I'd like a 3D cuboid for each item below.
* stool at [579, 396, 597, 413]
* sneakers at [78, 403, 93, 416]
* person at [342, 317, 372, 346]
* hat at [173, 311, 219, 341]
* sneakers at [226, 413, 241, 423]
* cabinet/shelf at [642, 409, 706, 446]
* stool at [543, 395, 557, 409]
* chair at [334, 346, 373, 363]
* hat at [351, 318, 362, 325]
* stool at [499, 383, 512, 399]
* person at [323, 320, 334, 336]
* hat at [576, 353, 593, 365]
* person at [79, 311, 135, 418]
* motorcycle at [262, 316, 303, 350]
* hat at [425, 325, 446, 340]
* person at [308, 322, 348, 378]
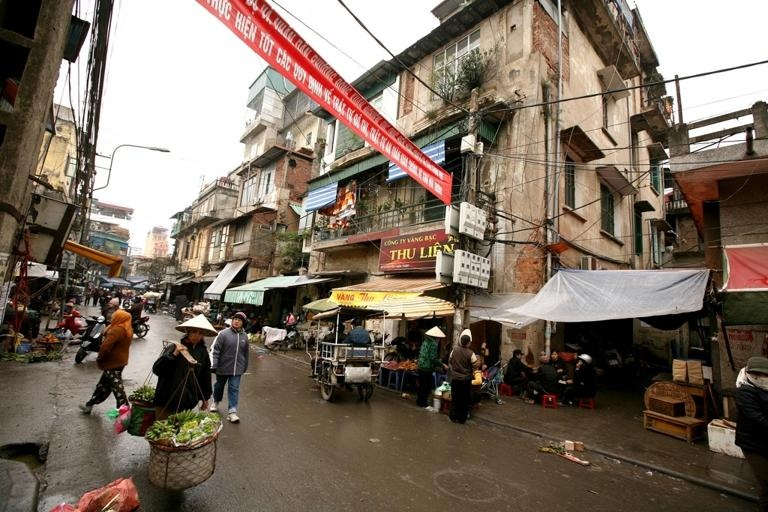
[{"bbox_3d":[5.872,4.301,14.378,0.391,0.337,0.380,2,-2,11],"label":"stool"},{"bbox_3d":[-6.483,3.342,10.807,0.312,0.206,0.159,28,-11,12],"label":"sneakers"},{"bbox_3d":[-0.733,2.325,14.107,0.818,1.013,0.580,6,-53,-7],"label":"person"},{"bbox_3d":[-3.683,1.403,9.810,0.555,0.236,0.538,4,-20,15],"label":"hat"},{"bbox_3d":[-3.358,3.601,11.096,0.260,0.179,0.306,1,10,-17],"label":"sneakers"},{"bbox_3d":[7.129,4.113,12.206,0.761,0.579,1.156,-4,12,-40],"label":"cabinet/shelf"},{"bbox_3d":[4.725,4.129,14.073,0.381,0.303,0.369,3,14,8],"label":"stool"},{"bbox_3d":[-0.790,2.667,13.434,1.093,0.438,0.373,5,4,-19],"label":"chair"},{"bbox_3d":[-0.923,2.161,16.229,0.236,0.280,0.285,17,6,20],"label":"hat"},{"bbox_3d":[3.752,4.118,15.263,0.326,0.269,0.312,1,-21,5],"label":"stool"},{"bbox_3d":[-2.026,2.702,18.554,0.633,0.776,0.244,3,37,-1],"label":"person"},{"bbox_3d":[5.767,2.939,14.206,0.346,0.146,0.348,19,1,25],"label":"hat"},{"bbox_3d":[-5.938,2.368,10.724,0.884,2.245,1.074,-1,11,-29],"label":"person"},{"bbox_3d":[-4.536,3.581,22.624,1.034,1.453,2.188,-8,-8,41],"label":"motorcycle"},{"bbox_3d":[1.430,2.172,14.058,0.435,0.185,0.424,9,-7,-44],"label":"hat"},{"bbox_3d":[-1.533,2.774,15.781,1.085,1.369,2.396,6,-15,-10],"label":"person"}]
